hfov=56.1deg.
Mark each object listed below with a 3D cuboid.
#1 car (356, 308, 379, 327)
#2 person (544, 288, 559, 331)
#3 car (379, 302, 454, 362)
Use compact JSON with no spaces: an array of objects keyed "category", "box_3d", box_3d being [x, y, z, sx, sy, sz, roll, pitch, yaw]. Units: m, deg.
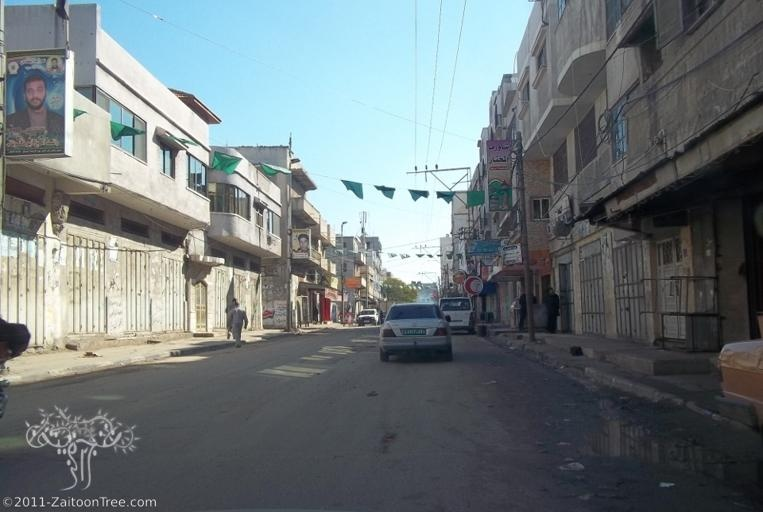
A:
[{"category":"car","box_3d":[-1.341,5.749,65.979,1.268,1.101,2.468,-1,-10,1]},{"category":"person","box_3d":[7.004,2.250,29.182,0.518,2.029,0.796,2,10,15]},{"category":"car","box_3d":[0.953,2.279,20.110,2.014,1.308,1.293,-1,9,0]}]
